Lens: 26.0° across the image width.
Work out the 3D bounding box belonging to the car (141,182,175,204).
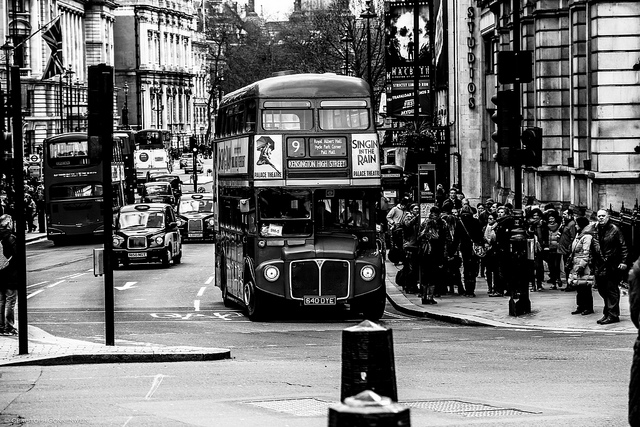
[{"bbox_3d":[-8.868,-1.224,76.558,1.601,1.274,2.756,-1,-3,-10],"label":"car"}]

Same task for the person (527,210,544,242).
[{"bbox_3d":[6.148,0.353,39.664,0.642,0.815,0.361,2,8,-32],"label":"person"}]

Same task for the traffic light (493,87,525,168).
[{"bbox_3d":[4.730,-2.122,34.732,0.736,1.949,0.884,0,3,6],"label":"traffic light"}]

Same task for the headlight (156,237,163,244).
[{"bbox_3d":[-5.612,0.963,48.805,0.239,0.217,0.090,-1,3,-31],"label":"headlight"}]

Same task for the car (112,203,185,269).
[{"bbox_3d":[-6.165,0.735,50.133,1.932,1.521,3.352,-1,-3,-2],"label":"car"}]

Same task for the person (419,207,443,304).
[{"bbox_3d":[2.958,1.140,37.254,0.577,2.568,0.795,2,3,34],"label":"person"}]

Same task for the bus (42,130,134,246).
[{"bbox_3d":[-9.379,-1.452,67.357,3.287,4.760,10.862,-2,1,17],"label":"bus"}]

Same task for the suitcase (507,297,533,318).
[{"bbox_3d":[4.902,2.355,34.676,0.504,0.614,0.718,-3,-5,42],"label":"suitcase"}]

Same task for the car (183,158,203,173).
[{"bbox_3d":[-11.377,-4.215,123.166,1.271,0.786,2.555,0,6,-1],"label":"car"}]

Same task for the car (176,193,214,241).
[{"bbox_3d":[-5.523,-0.035,62.913,2.029,1.865,3.639,1,14,-2],"label":"car"}]

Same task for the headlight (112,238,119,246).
[{"bbox_3d":[-7.137,0.982,48.656,0.142,0.238,0.347,1,2,14],"label":"headlight"}]

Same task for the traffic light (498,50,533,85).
[{"bbox_3d":[4.844,-3.643,34.489,0.802,0.755,0.417,0,3,2],"label":"traffic light"}]

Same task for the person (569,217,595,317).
[{"bbox_3d":[6.291,1.309,33.396,0.560,2.424,1.059,1,3,9],"label":"person"}]

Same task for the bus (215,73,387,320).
[{"bbox_3d":[-0.932,-0.425,35.262,5.057,6.279,2.634,3,4,45],"label":"bus"}]

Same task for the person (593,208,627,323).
[{"bbox_3d":[6.821,1.260,32.793,0.758,2.666,0.605,1,3,11],"label":"person"}]

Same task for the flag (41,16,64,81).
[{"bbox_3d":[-15.027,-9.424,78.488,1.829,3.600,0.509,4,7,29],"label":"flag"}]
